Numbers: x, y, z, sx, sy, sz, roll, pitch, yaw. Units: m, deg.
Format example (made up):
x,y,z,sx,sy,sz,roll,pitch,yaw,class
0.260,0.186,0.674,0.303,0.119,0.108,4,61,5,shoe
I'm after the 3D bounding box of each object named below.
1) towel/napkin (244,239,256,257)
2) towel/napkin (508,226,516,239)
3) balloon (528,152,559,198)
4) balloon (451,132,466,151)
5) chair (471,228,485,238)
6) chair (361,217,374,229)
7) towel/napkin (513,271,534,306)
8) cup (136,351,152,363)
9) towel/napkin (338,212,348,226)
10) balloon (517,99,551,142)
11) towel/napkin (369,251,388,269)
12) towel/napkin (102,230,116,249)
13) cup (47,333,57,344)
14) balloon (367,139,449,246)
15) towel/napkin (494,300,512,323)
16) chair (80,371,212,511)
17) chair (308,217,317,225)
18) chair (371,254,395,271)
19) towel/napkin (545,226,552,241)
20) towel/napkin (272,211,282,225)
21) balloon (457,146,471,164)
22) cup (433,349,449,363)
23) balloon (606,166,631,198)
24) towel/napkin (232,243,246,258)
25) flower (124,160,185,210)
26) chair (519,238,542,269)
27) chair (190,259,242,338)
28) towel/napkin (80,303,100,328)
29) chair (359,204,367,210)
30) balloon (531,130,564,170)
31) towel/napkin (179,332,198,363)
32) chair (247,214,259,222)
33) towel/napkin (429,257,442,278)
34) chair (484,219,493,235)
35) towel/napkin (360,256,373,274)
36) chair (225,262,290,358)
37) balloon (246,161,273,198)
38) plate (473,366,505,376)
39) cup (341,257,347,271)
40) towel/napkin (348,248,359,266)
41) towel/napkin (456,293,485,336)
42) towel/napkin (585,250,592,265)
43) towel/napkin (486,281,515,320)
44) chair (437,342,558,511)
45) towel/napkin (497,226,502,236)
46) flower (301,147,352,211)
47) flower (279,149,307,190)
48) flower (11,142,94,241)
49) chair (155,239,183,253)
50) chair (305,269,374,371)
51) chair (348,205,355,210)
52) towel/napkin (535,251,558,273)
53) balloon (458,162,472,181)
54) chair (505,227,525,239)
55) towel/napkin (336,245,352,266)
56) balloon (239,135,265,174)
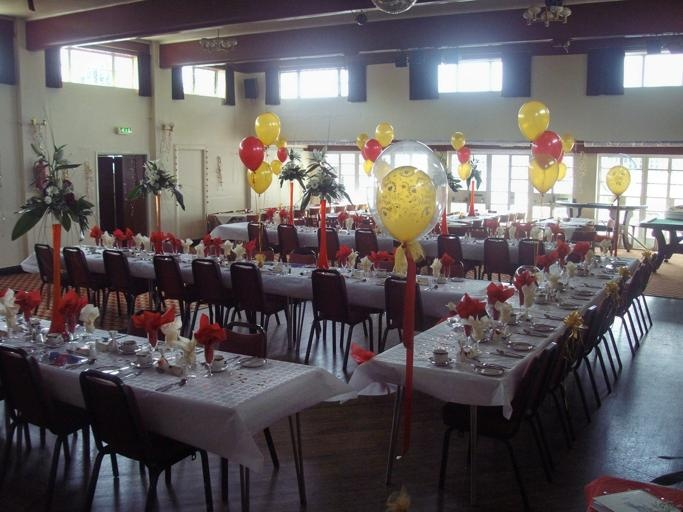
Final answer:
x,y,z,sx,sy,sz,roll,pitch,yaw,class
-1.260,-0.113,7.458,0.207,0.314,0.208,1,-1,0,towel/napkin
3.159,-0.436,9.743,0.110,0.240,0.294,2,10,19,towel/napkin
2.780,-1.123,7.298,0.403,0.575,0.434,1,-3,34,balloon
2.777,-2.733,12.561,0.263,0.415,0.526,0,10,9,balloon
2.698,-0.453,10.348,0.215,0.135,0.340,-3,10,-10,chair
0.633,-0.802,12.597,0.265,0.312,0.525,0,5,-2,chair
1.667,0.289,4.874,0.226,0.328,0.223,1,-10,-9,towel/napkin
-1.414,0.717,3.786,0.080,0.070,0.092,0,-4,-9,cup
0.026,-0.853,11.848,0.223,0.317,0.256,0,1,-8,towel/napkin
2.748,-1.925,7.565,0.460,0.652,0.480,7,7,41,balloon
0.468,0.038,6.661,0.205,0.159,0.208,-4,-9,25,towel/napkin
-3.811,-0.281,8.783,0.282,0.319,0.249,-3,-1,39,towel/napkin
-2.329,0.666,4.261,0.072,0.063,0.072,-1,3,0,cup
0.474,-0.451,3.838,0.545,0.831,0.630,-2,-4,16,balloon
1.365,0.459,4.408,0.147,0.189,0.158,0,0,-38,towel/napkin
-1.293,1.088,3.386,0.627,0.814,0.371,4,11,29,chair
-0.670,-0.854,12.864,0.230,0.210,0.195,1,5,33,chair
0.530,0.066,6.738,0.210,0.279,0.244,0,1,-19,chair
3.580,-0.362,9.127,0.105,0.237,0.424,2,10,20,towel/napkin
-1.524,-0.915,12.523,0.224,0.254,0.552,-2,10,-8,towel/napkin
3.011,-2.479,12.924,0.227,0.392,0.586,2,10,18,balloon
0.715,0.718,3.803,0.082,0.067,0.081,-1,6,0,cup
5.657,-1.534,10.798,0.379,0.625,0.595,4,11,30,balloon
-1.420,-0.096,7.391,0.174,0.074,0.189,6,-16,-22,towel/napkin
-3.311,-1.313,9.436,0.896,0.701,0.721,0,18,11,flower
2.915,-0.032,8.162,0.341,0.528,0.402,6,11,28,chair
-1.590,0.473,6.816,0.584,1.005,0.672,0,11,2,chair
-2.075,0.510,4.336,0.196,0.221,0.081,8,11,-31,towel/napkin
0.702,-1.595,17.090,0.216,0.293,0.113,7,10,30,chair
2.938,-1.555,7.600,0.416,0.576,0.454,0,-4,5,balloon
-1.055,0.665,3.774,0.143,0.187,0.174,-2,-2,-4,towel/napkin
-2.405,-1.051,14.398,0.261,0.147,0.860,-4,10,-15,chair
1.131,0.129,6.316,0.161,0.276,0.209,-1,-1,5,towel/napkin
2.920,-0.559,10.353,0.177,0.252,0.590,2,10,16,chair
0.307,0.105,6.499,0.153,0.182,0.168,-1,-1,-2,towel/napkin
-1.044,0.493,6.520,0.531,1.056,0.621,5,18,13,chair
-1.218,-1.167,7.934,0.353,0.482,0.367,3,-3,12,balloon
1.037,0.794,3.670,0.202,0.023,0.168,1,10,10,plate
0.032,0.104,7.004,0.120,0.188,0.108,0,-1,21,cup
0.145,0.037,6.808,0.150,0.270,0.173,1,2,-4,towel/napkin
0.998,0.489,4.118,0.224,0.292,0.251,-3,-18,21,towel/napkin
3.293,0.018,7.041,0.035,0.163,0.154,0,-11,11,towel/napkin
1.316,0.387,4.406,0.202,0.304,0.222,-3,6,-36,towel/napkin
1.125,1.156,3.832,0.740,1.060,0.650,3,10,25,chair
2.961,-0.448,9.815,0.108,0.180,0.079,2,10,17,towel/napkin
-0.270,-1.077,7.485,0.693,0.907,0.582,-5,8,-44,flower
-0.866,-1.645,10.015,0.450,0.702,0.484,7,12,10,flower
-2.498,-0.571,4.598,0.781,0.930,0.660,4,5,38,flower
-2.656,-0.149,8.233,0.211,0.230,0.222,5,10,18,chair
-0.056,0.634,6.102,0.618,1.159,0.689,9,17,30,chair
0.313,-1.509,16.442,0.168,0.161,0.202,-1,2,-4,chair
2.487,0.071,6.401,0.221,0.176,0.215,-20,5,-15,towel/napkin
3.032,-2.110,13.152,0.341,0.485,0.482,-1,3,4,balloon
3.267,-0.432,9.864,0.263,0.136,0.266,-7,11,-34,chair
-0.011,-0.055,6.924,0.227,0.115,0.241,-23,-28,0,towel/napkin
-1.251,-1.491,7.577,0.385,0.562,0.412,0,6,-1,balloon
